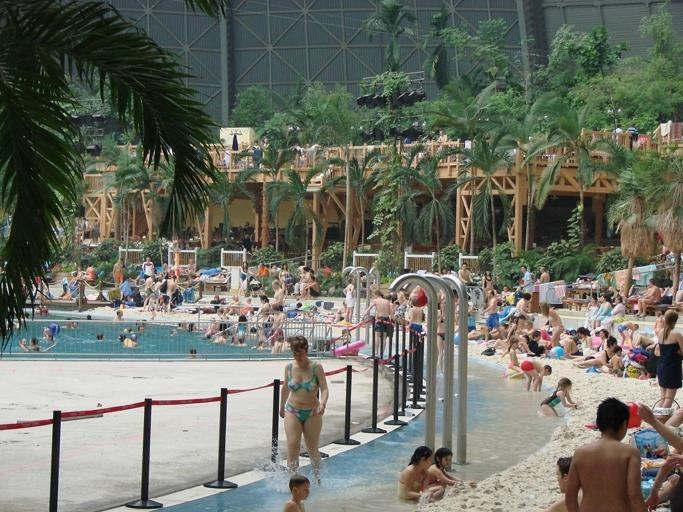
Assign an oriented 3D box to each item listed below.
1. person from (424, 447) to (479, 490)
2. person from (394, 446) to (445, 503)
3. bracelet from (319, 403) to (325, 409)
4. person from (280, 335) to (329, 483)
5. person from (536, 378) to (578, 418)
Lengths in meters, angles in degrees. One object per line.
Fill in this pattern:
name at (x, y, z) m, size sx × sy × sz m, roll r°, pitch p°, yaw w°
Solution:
person at (2.066, 4.272, 27.544) m, size 1.013 × 0.981 × 0.649 m, roll 3°, pitch 8°, yaw 23°
person at (1.496, 4.372, 27.298) m, size 0.850 × 1.414 × 0.934 m, roll 0°, pitch 4°, yaw -7°
bracelet at (-0.385, 2.954, 27.366) m, size 0.079 × 0.103 × 0.195 m, roll 11°, pitch -26°, yaw 6°
person at (-0.743, 3.038, 27.534) m, size 0.929 × 2.949 × 0.907 m, roll -2°, pitch 1°, yaw -3°
person at (4.882, 3.186, 31.612) m, size 0.859 × 1.107 × 0.524 m, roll 7°, pitch 23°, yaw 4°
